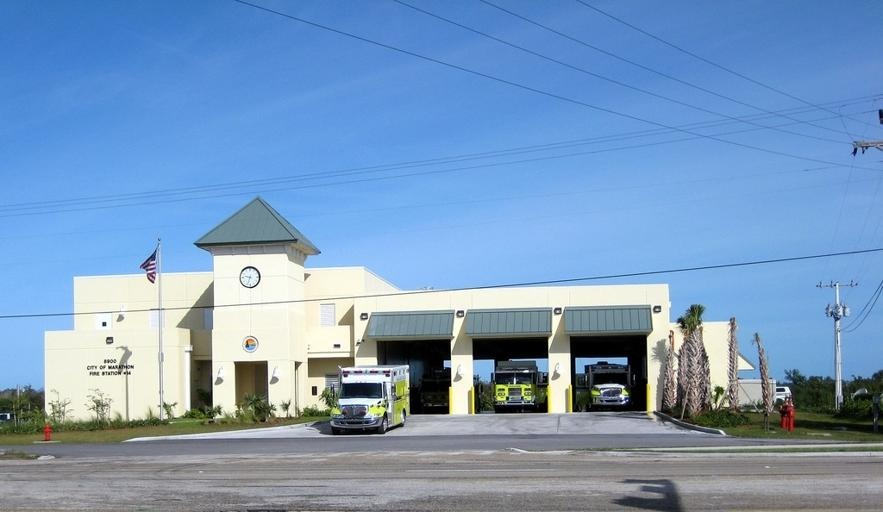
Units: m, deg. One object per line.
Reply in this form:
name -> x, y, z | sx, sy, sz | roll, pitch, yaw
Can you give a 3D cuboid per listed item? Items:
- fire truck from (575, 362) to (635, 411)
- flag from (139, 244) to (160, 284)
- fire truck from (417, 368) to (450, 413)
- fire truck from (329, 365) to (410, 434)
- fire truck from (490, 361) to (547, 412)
fire truck -> 13.716, 10.652, 78.628 | 3.687, 3.512, 7.212 | -1, -8, 8
flag -> -22.378, 0.674, 73.570 | 1.358, 0.309, 3.272 | -4, -53, -32
fire truck -> -0.523, 10.938, 77.462 | 2.655, 3.730, 3.748 | -2, -13, 1
fire truck -> -4.474, 9.226, 61.792 | 3.421, 3.575, 9.917 | -1, -6, 8
fire truck -> 6.016, 10.359, 80.515 | 6.504, 5.183, 12.292 | -1, -9, 7
